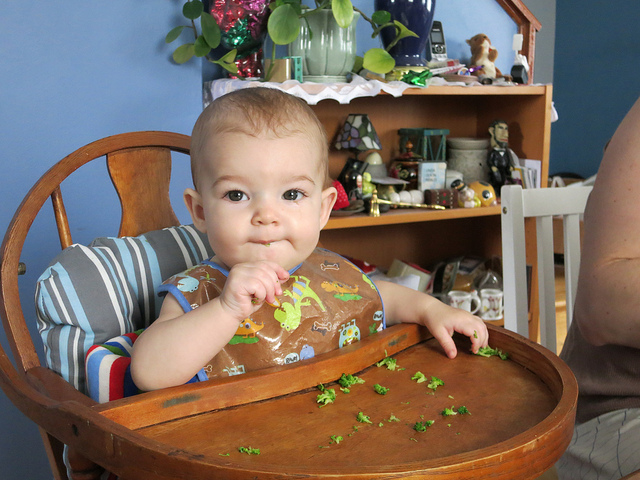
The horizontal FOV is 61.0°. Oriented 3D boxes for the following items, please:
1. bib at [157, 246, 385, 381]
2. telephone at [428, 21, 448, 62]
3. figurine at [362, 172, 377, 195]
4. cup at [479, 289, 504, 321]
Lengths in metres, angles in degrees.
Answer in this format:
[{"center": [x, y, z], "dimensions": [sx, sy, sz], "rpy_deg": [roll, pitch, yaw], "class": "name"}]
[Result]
[{"center": [-0.092, 0.057, 1.008], "dimensions": [0.346, 0.216, 0.246], "rpy_deg": [-8, 16, -34], "class": "bib"}, {"center": [0.480, -0.807, 2.215], "dimensions": [0.051, 0.233, 0.046], "rpy_deg": [-5, 53, 17], "class": "telephone"}, {"center": [0.177, -0.212, 2.041], "dimensions": [0.055, 0.090, 0.086], "rpy_deg": [-3, -16, 26], "class": "figurine"}, {"center": [0.696, 0.266, 2.292], "dimensions": [0.113, 0.145, 0.181], "rpy_deg": [0, -2, 5], "class": "cup"}]
